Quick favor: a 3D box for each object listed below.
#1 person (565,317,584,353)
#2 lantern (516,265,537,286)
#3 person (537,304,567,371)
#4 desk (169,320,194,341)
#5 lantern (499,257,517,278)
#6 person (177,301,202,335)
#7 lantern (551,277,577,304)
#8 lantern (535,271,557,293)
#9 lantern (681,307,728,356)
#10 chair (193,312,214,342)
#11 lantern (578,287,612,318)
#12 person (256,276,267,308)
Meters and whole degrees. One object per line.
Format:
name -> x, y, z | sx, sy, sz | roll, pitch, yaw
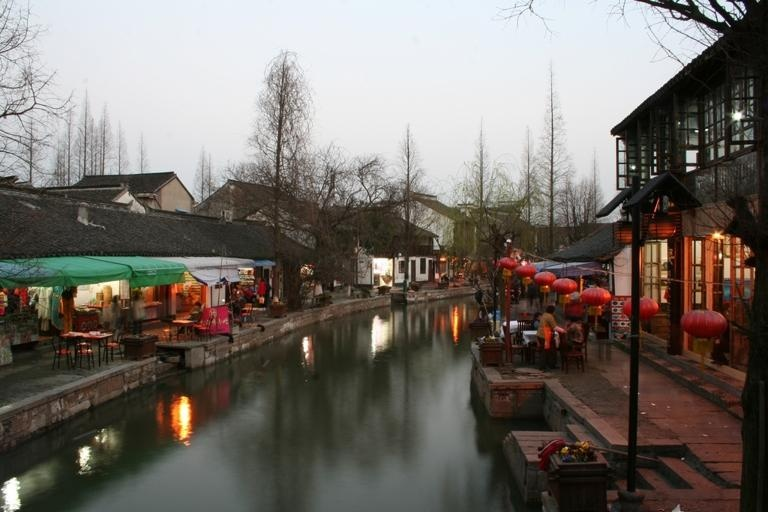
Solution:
person -> 5.363, 2.235, 19.058 | 0.669, 1.070, 0.563 | -1, -9, 27
lantern -> 4.134, 0.564, 19.803 | 0.602, 0.664, 0.617 | -1, 1, 35
person -> 4.739, 2.258, 18.979 | 0.796, 1.685, 0.686 | 4, -1, -8
desk -> -6.990, 2.715, 23.184 | 0.789, 0.971, 1.001 | 0, 1, -1
lantern -> 3.575, 0.343, 19.287 | 0.523, 0.618, 0.544 | -1, 3, 7
person -> -6.668, 2.251, 23.190 | 0.742, 1.423, 0.629 | 4, -23, -15
lantern -> 5.224, 0.989, 19.009 | 0.663, 0.834, 0.734 | 0, -2, -7
lantern -> 4.815, 0.789, 20.382 | 0.651, 0.711, 0.662 | -2, 0, 43
lantern -> 6.484, 1.498, 13.409 | 0.915, 0.915, 0.937 | 1, -6, -7
chair -> -6.150, 2.339, 23.215 | 0.721, 1.236, 0.785 | -2, -4, 22
lantern -> 5.841, 1.264, 18.363 | 0.747, 0.830, 0.773 | 0, -2, -9
person -> -6.248, 1.841, 34.318 | 0.478, 1.280, 1.255 | -1, 12, -9
